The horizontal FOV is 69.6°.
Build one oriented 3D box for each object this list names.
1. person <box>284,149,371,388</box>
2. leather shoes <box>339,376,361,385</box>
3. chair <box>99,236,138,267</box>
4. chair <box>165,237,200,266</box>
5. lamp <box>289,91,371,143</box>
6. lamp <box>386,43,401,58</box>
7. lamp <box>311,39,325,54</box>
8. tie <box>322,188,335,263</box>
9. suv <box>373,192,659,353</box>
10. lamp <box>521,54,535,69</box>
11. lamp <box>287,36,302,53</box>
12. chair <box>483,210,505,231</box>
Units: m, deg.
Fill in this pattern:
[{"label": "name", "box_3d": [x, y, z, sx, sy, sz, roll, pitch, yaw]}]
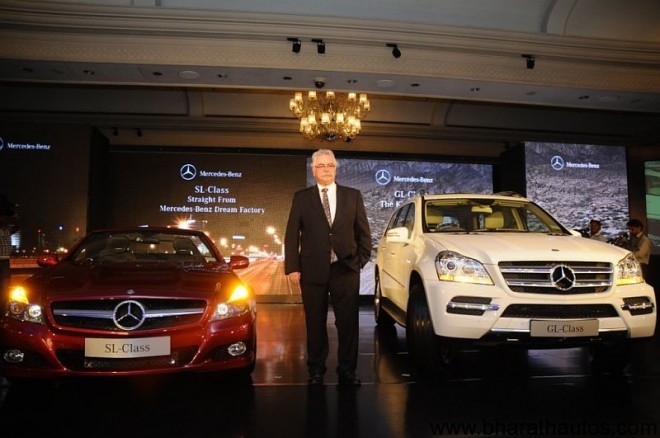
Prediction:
[{"label": "person", "box_3d": [-0.014, 0.481, 4.705, 0.846, 2.326, 0.355, 0, 5, 4]}, {"label": "leather shoes", "box_3d": [0.206, 1.584, 4.700, 0.233, 0.097, 0.084, -1, 23, 7]}, {"label": "chair", "box_3d": [-2.357, 0.331, 5.235, 0.335, 0.366, 0.426, 4, -16, -12]}, {"label": "chair", "box_3d": [-1.607, 0.420, 5.308, 0.405, 0.378, 0.347, 1, 6, -36]}, {"label": "lamp", "box_3d": [0.019, -2.038, 9.284, 1.154, 0.872, 1.144, 1, 10, 3]}, {"label": "lamp", "box_3d": [1.051, -2.750, 7.773, 0.255, 0.215, 0.167, 1, 5, 6]}, {"label": "lamp", "box_3d": [-0.178, -2.771, 7.629, 0.226, 0.212, 0.196, 1, 5, 6]}, {"label": "tie", "box_3d": [-0.022, 0.047, 4.670, 0.090, 0.821, 0.088, -9, -7, 8]}, {"label": "suv", "box_3d": [1.743, 0.553, 5.665, 1.665, 1.301, 2.694, 1, -11, -7]}, {"label": "lamp", "box_3d": [3.389, -2.679, 8.087, 0.196, 0.215, 0.242, 3, 6, 26]}, {"label": "lamp", "box_3d": [-0.562, -2.781, 7.614, 0.206, 0.214, 0.205, 2, 6, 23]}, {"label": "chair", "box_3d": [1.886, 0.026, 5.435, 0.312, 0.278, 0.177, 0, -2, -16]}]
